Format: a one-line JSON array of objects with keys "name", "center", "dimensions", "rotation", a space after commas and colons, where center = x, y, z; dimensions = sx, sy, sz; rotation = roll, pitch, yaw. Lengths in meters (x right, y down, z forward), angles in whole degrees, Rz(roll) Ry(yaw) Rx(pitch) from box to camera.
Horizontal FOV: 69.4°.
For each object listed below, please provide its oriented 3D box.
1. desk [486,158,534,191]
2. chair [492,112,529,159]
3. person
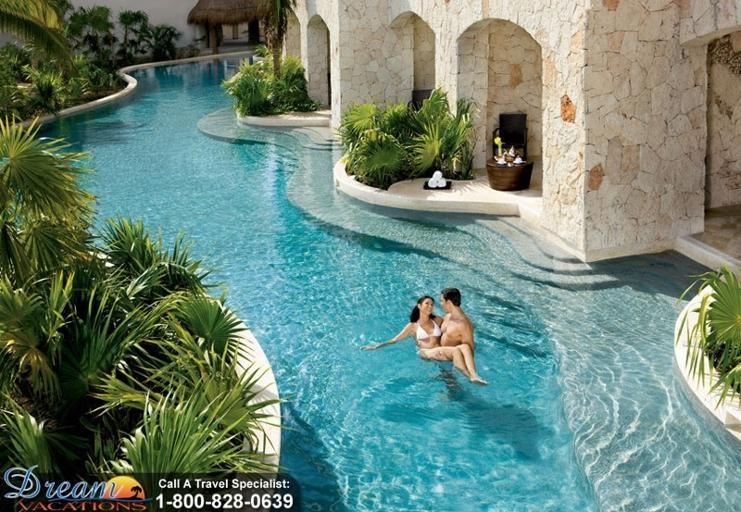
[{"name": "desk", "center": [2.844, -1.703, 11.063], "dimensions": [0.952, 0.536, 1.016], "rotation": [0, 19, 10]}, {"name": "chair", "center": [3.070, -2.573, 11.721], "dimensions": [0.694, 1.062, 0.608], "rotation": [4, 10, 21]}, {"name": "person", "center": [0.754, 0.915, 6.148], "dimensions": [0.906, 0.613, 1.104], "rotation": [-6, 6, -23]}]
